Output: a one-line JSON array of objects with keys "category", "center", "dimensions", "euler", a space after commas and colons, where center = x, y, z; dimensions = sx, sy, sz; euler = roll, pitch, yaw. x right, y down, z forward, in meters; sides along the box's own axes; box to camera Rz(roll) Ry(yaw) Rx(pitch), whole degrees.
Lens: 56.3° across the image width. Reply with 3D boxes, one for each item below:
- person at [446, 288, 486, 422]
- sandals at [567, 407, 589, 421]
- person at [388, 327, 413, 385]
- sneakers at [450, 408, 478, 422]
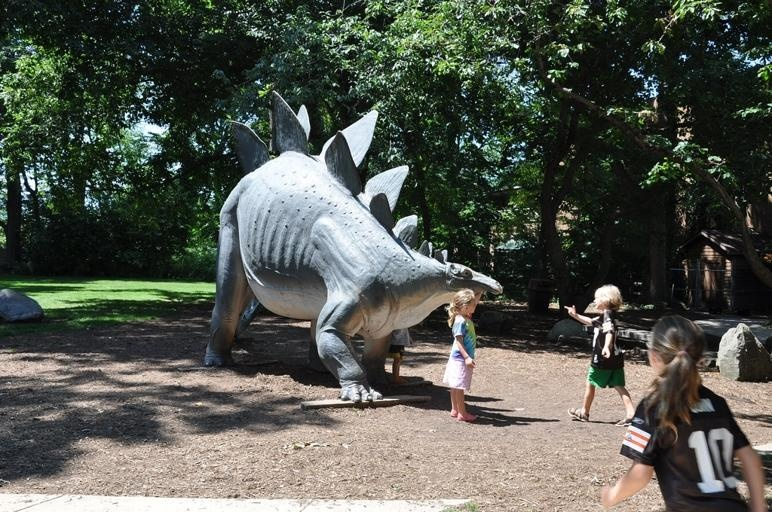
[{"category": "person", "center": [1.147, 1.447, 10.903], "dimensions": [0.509, 1.607, 0.833], "euler": [5, 2, 5]}, {"category": "sandals", "center": [2.901, 2.402, 10.953], "dimensions": [0.144, 0.102, 0.264], "euler": [-3, 15, -44]}, {"category": "person", "center": [0.199, 1.661, 12.292], "dimensions": [0.347, 0.739, 0.594], "euler": [4, 1, 1]}, {"category": "sneakers", "center": [1.139, 2.350, 10.602], "dimensions": [0.392, 0.276, 0.135], "euler": [-6, 0, 1]}]
